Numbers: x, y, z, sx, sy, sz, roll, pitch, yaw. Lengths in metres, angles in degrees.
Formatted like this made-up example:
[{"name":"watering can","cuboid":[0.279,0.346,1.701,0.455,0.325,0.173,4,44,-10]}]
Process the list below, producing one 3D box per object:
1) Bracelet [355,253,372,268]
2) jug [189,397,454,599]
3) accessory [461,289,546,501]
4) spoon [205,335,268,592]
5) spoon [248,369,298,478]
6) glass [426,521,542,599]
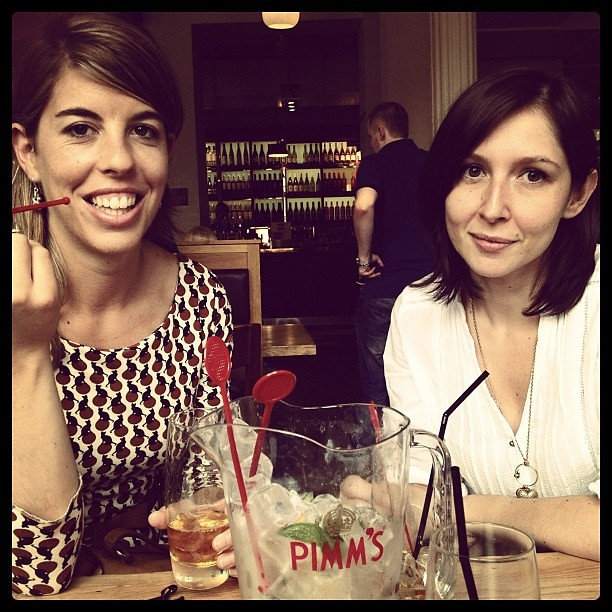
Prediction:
[{"name":"Bracelet","cuboid":[0.318,-0.241,3.301,0.069,0.058,0.069,-22,-48,15]},{"name":"jug","cuboid":[0.038,0.208,0.660,0.308,0.172,0.219,-5,1,-22]},{"name":"accessory","cuboid":[0.440,0.179,1.293,0.159,0.596,0.041,-5,3,18]},{"name":"spoon","cuboid":[-0.087,0.188,0.707,0.035,0.349,0.029,6,-34,-37]},{"name":"spoon","cuboid":[-0.036,0.124,0.632,0.032,0.123,0.014,0,18,-41]},{"name":"glass","cuboid":[0.173,0.259,0.593,0.084,0.096,0.091,0,-10,-1]}]
